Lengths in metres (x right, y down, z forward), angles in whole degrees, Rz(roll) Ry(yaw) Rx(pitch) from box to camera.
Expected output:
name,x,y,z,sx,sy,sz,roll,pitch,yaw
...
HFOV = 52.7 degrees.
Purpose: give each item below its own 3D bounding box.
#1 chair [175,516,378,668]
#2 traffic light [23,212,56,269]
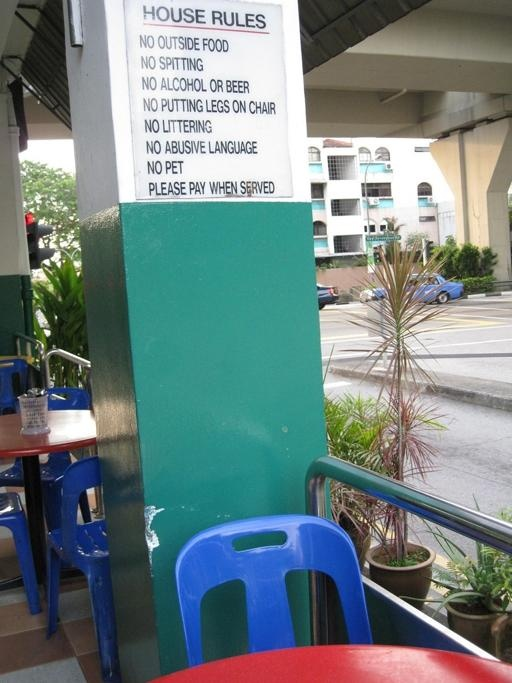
name,x,y,z,sx,sy,sz,roll,pitch,yaw
chair,0.029,0.544,0.973,0.322,0.349,0.209,-7,-8,-3
traffic light,-2.870,-1.378,6.983,0.323,0.788,1.483,-5,7,-21
